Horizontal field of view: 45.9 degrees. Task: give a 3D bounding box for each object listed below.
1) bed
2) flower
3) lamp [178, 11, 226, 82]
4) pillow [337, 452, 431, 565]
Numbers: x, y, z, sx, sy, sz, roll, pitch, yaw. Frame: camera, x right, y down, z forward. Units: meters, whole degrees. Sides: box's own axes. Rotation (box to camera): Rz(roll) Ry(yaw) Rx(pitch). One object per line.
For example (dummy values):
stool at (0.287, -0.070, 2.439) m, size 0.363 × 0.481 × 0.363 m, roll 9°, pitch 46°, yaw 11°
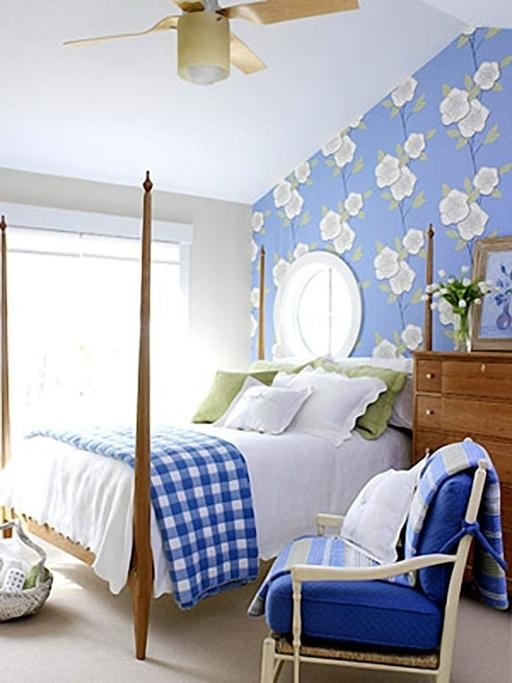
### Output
bed at (-0.458, 0.070, 3.453) m, size 2.199 × 2.349 × 2.046 m, roll 4°, pitch 5°, yaw 39°
flower at (0.984, -0.159, 2.916) m, size 0.283 × 0.304 × 0.279 m, roll 10°, pitch -11°, yaw -43°
lamp at (-0.155, -0.832, 1.756) m, size 0.143 × 0.182 × 0.154 m, roll -3°, pitch -1°, yaw 17°
pillow at (0.444, 0.545, 1.973) m, size 0.087 × 0.309 × 0.274 m, roll 24°, pitch -8°, yaw -11°
